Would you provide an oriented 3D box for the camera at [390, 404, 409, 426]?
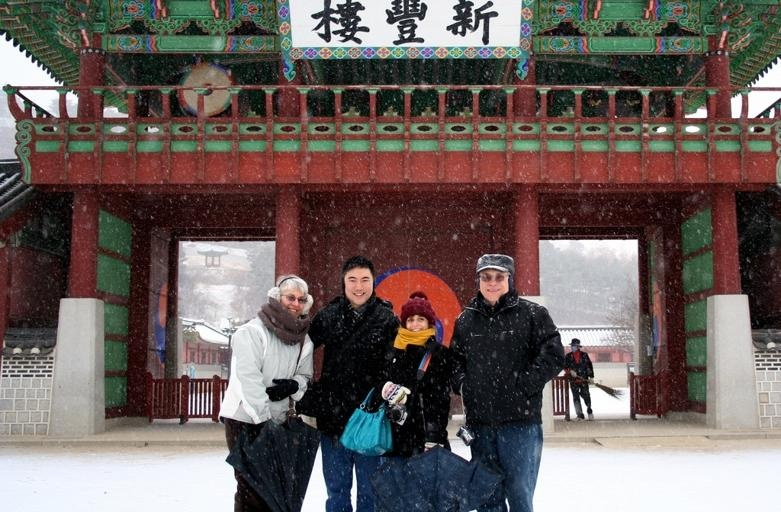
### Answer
[{"bbox_3d":[0.113,1.956,9.852,0.209,0.247,0.185,1,-9,0],"label":"camera"}]

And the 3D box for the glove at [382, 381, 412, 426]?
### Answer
[{"bbox_3d":[0.091,1.801,9.871,0.345,0.504,0.222,3,2,19],"label":"glove"}]

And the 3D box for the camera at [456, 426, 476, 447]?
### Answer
[{"bbox_3d":[0.939,2.224,9.839,0.186,0.239,0.255,-1,-9,12],"label":"camera"}]

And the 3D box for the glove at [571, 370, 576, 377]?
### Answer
[{"bbox_3d":[4.259,2.738,18.625,0.102,0.148,0.039,8,-15,-3],"label":"glove"}]

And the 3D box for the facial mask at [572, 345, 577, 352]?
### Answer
[{"bbox_3d":[4.376,2.205,18.947,0.116,0.091,0.124,2,-4,11],"label":"facial mask"}]

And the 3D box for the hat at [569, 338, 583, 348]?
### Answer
[{"bbox_3d":[4.394,2.064,18.915,0.250,0.170,0.285,1,-9,-1],"label":"hat"}]

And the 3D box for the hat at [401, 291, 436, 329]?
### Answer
[{"bbox_3d":[0.356,0.673,10.187,0.353,0.391,0.457,1,-12,1],"label":"hat"}]
